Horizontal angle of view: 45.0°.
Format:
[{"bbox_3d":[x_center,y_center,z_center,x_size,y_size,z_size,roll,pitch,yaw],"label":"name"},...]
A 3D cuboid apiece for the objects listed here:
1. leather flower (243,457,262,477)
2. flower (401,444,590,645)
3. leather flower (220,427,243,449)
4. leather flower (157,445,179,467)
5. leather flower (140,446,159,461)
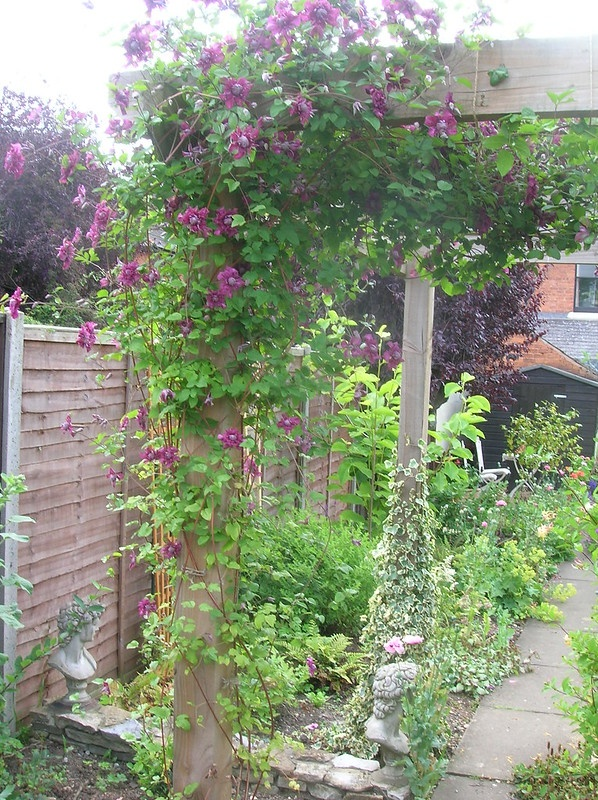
[{"bbox_3d":[-0.132,0.197,2.008,0.029,0.053,0.056,-24,39,-26],"label":"leather flower"},{"bbox_3d":[1.540,1.105,5.563,1.373,0.638,1.342,4,14,14],"label":"flower"},{"bbox_3d":[-0.172,0.097,1.838,0.056,0.053,0.026,21,-16,-3],"label":"leather flower"},{"bbox_3d":[-0.332,0.146,1.858,0.051,0.051,0.019,22,-21,-20],"label":"leather flower"},{"bbox_3d":[-0.389,0.137,1.898,0.025,0.042,0.044,6,8,41],"label":"leather flower"}]
